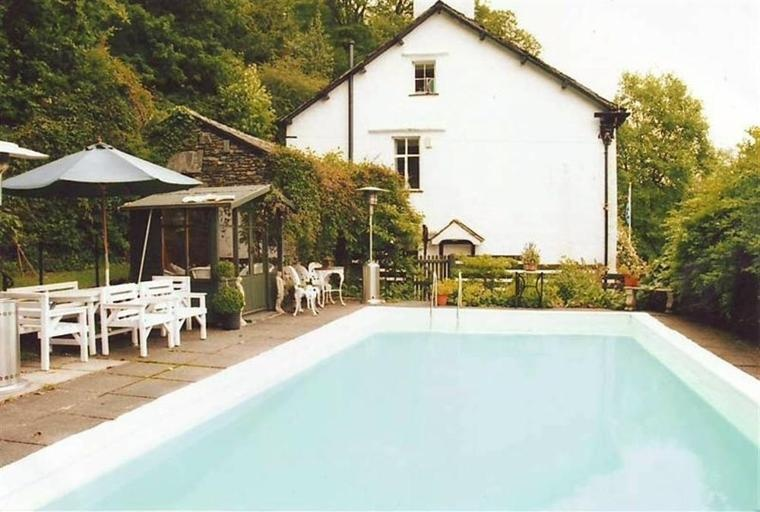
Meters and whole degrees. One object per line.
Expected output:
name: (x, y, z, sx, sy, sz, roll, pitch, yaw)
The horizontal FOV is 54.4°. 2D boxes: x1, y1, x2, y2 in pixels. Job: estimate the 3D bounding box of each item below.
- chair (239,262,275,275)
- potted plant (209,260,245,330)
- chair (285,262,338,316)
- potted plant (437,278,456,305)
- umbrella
chair: (-3.530, 0.361, 20.475, 0.317, 0.270, 0.519, 4, 9, 41)
potted plant: (-3.866, 0.990, 18.773, 0.797, 1.695, 0.841, 0, -1, -20)
chair: (-2.060, 0.932, 21.058, 1.213, 1.377, 1.879, 0, 0, 3)
potted plant: (1.966, 1.079, 22.274, 0.836, 0.722, 0.433, 0, -1, -42)
umbrella: (-6.720, -1.001, 17.442, 3.304, 3.329, 3.080, -1, -1, 34)
